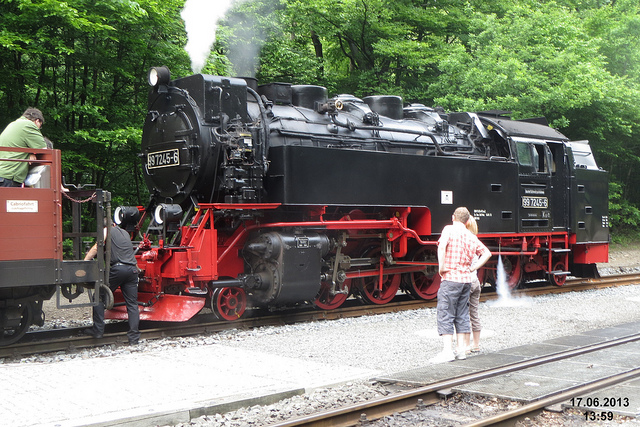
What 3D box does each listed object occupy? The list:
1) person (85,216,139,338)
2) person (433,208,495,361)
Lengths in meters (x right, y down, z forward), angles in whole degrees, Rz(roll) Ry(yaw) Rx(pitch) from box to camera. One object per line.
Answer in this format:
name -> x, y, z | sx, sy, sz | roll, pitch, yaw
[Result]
person -> -3.624, 1.081, 8.651 | 0.820, 2.061, 1.149 | 0, -1, -21
person -> 2.103, 1.041, 7.531 | 0.977, 2.258, 0.433 | 0, -1, -30
